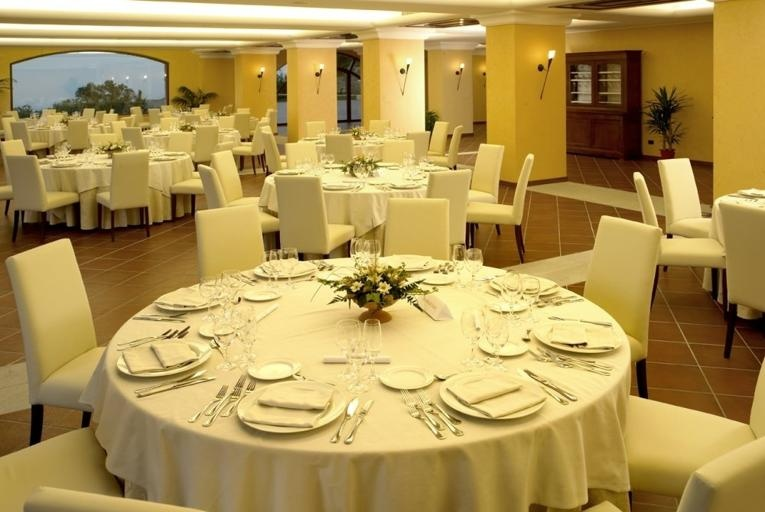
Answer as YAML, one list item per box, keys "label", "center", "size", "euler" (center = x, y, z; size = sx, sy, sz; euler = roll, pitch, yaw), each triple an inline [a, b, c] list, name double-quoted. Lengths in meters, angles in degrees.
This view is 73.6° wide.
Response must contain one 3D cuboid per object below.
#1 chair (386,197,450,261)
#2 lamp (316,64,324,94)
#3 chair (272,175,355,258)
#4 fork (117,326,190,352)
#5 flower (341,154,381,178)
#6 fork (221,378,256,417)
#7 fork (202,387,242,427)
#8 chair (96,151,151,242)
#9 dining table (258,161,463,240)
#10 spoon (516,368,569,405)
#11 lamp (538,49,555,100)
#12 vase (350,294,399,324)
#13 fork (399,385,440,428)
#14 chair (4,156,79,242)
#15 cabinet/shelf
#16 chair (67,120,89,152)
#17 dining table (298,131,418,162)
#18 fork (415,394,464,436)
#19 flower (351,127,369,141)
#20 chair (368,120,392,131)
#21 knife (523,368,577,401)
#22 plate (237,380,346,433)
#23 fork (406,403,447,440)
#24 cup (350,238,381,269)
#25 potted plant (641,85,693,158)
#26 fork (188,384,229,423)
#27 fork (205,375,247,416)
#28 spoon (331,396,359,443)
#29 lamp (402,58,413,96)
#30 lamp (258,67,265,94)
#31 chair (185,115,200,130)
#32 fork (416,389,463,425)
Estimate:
- label: "chair"
  center: [0.250, -0.223, 4.221]
  size: [0.454, 0.676, 0.483]
  euler: [4, 4, 7]
- label: "lamp"
  center: [-1.959, -5.568, 16.136]
  size: [0.324, 0.873, 0.090]
  euler: [-16, 21, -40]
- label: "chair"
  center: [-0.706, -0.371, 5.358]
  size: [0.730, 0.938, 0.465]
  euler: [-6, 17, -15]
- label: "fork"
  center: [-1.109, 0.412, 2.496]
  size: [0.268, 0.040, 0.038]
  euler: [-8, 26, -12]
- label: "flower"
  center: [-0.305, -1.103, 6.391]
  size: [0.357, 0.267, 0.337]
  euler: [3, 22, 14]
- label: "fork"
  center: [-0.578, 0.581, 2.108]
  size: [0.034, 0.030, 0.259]
  euler: [-3, 25, 17]
- label: "fork"
  center: [-0.633, 0.606, 2.039]
  size: [0.034, 0.033, 0.254]
  euler: [-3, 26, 14]
- label: "chair"
  center: [-3.885, -0.939, 7.756]
  size: [0.762, 1.245, 0.916]
  euler: [-11, 19, -29]
- label: "dining table"
  center: [-0.083, -0.681, 5.838]
  size: [1.368, 0.339, 1.308]
  euler: [-12, 21, -32]
- label: "spoon"
  center: [0.680, 0.551, 2.143]
  size: [0.050, 0.010, 0.202]
  euler: [-7, 16, -16]
- label: "lamp"
  center: [3.422, -3.755, 10.677]
  size: [0.475, 0.952, 0.127]
  euler: [-13, 20, -34]
- label: "vase"
  center: [-0.037, 0.290, 2.677]
  size: [0.161, 0.108, 0.165]
  euler: [-2, 6, -3]
- label: "fork"
  center: [0.142, 0.601, 2.017]
  size: [0.050, 0.043, 0.304]
  euler: [-9, 25, -18]
- label: "chair"
  center: [-5.171, -0.910, 7.607]
  size: [0.978, 1.191, 0.989]
  euler: [0, 17, 4]
- label: "cabinet/shelf"
  center: [6.136, -4.186, 14.222]
  size: [0.704, 2.799, 2.036]
  euler: [-12, 19, -31]
- label: "chair"
  center: [-8.000, -3.149, 13.491]
  size: [0.515, 0.793, 0.481]
  euler: [-11, 19, -30]
- label: "dining table"
  center: [-0.416, -1.988, 9.396]
  size: [1.490, 0.391, 1.539]
  euler: [4, 15, 16]
- label: "fork"
  center: [0.208, 0.605, 2.002]
  size: [0.056, 0.050, 0.396]
  euler: [-19, 18, -11]
- label: "flower"
  center: [-0.501, -2.701, 11.560]
  size: [0.533, 0.327, 0.543]
  euler: [0, 16, -9]
- label: "chair"
  center: [-0.092, -3.141, 12.481]
  size: [0.485, 0.356, 0.358]
  euler: [2, 2, -20]
- label: "knife"
  center: [0.703, 0.536, 2.155]
  size: [0.057, 0.012, 0.222]
  euler: [-9, 16, -22]
- label: "plate"
  center: [-0.351, 0.592, 2.001]
  size: [0.422, 0.081, 0.266]
  euler: [-2, 17, -1]
- label: "fork"
  center: [0.165, 0.628, 1.950]
  size: [0.046, 0.041, 0.277]
  euler: [-16, 16, -10]
- label: "cup"
  center: [-0.101, -0.024, 3.084]
  size: [0.174, 0.207, 0.186]
  euler: [0, 8, 0]
- label: "potted plant"
  center: [7.140, -3.485, 13.101]
  size: [0.790, 1.607, 1.057]
  euler: [-15, 21, -39]
- label: "fork"
  center: [-0.680, 0.594, 2.073]
  size: [0.035, 0.041, 0.277]
  euler: [-2, 26, 19]
- label: "fork"
  center: [-0.629, 0.580, 2.101]
  size: [0.033, 0.030, 0.258]
  euler: [7, 26, 12]
- label: "spoon"
  center: [-0.140, 0.633, 1.949]
  size: [0.030, 0.017, 0.219]
  euler: [15, 34, 13]
- label: "lamp"
  center: [0.642, -4.779, 13.733]
  size: [0.332, 0.897, 0.088]
  euler: [-16, 22, -41]
- label: "lamp"
  center: [-4.563, -6.645, 19.342]
  size: [0.319, 0.885, 0.076]
  euler: [-13, 20, -35]
- label: "chair"
  center: [-5.191, -3.679, 14.027]
  size: [0.402, 0.317, 3.251]
  euler: [-7, 18, -18]
- label: "fork"
  center: [0.212, 0.598, 2.024]
  size: [0.055, 0.047, 0.316]
  euler: [-24, 23, -14]
